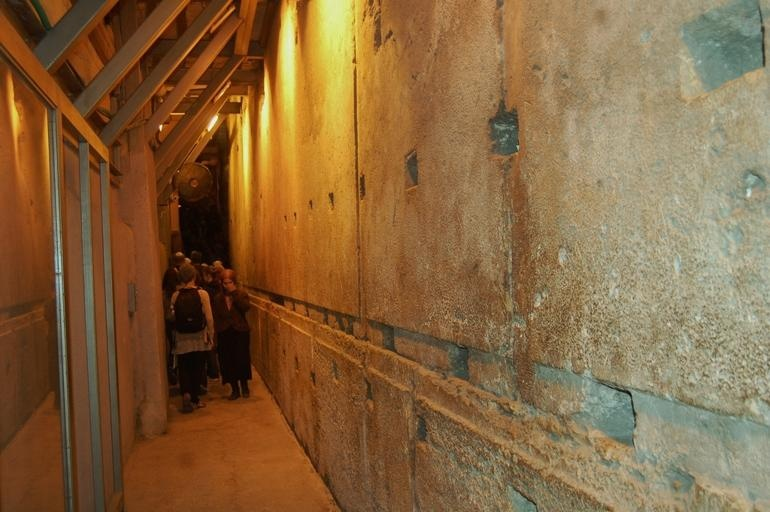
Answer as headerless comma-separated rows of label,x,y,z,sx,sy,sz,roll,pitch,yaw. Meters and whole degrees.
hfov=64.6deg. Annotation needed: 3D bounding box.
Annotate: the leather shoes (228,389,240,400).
leather shoes,-2.251,2.108,9.197,0.086,0.211,0.196,-11,-25,22
